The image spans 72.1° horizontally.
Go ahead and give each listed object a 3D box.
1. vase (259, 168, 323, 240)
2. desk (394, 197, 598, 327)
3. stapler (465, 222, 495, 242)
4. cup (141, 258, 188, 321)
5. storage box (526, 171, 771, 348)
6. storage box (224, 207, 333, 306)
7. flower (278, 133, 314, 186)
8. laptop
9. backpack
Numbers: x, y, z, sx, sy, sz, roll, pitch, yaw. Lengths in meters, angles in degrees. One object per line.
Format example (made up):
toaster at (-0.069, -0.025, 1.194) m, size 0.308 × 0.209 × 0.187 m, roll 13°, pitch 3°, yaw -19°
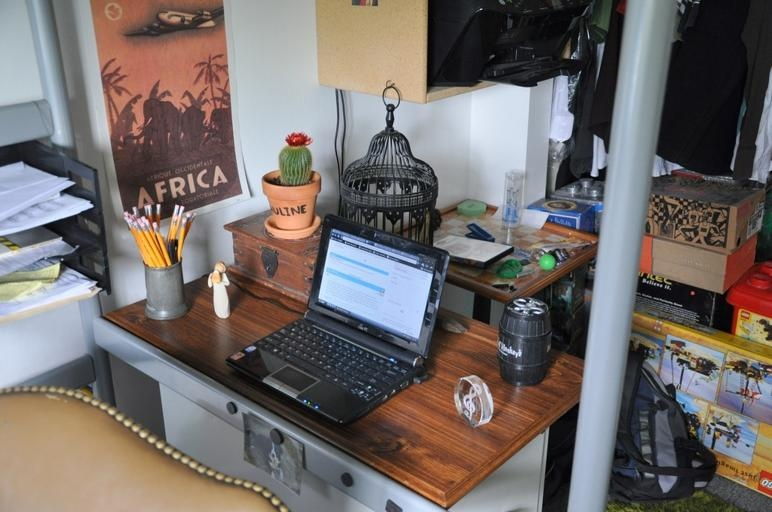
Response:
vase at (-0.342, -0.188, 1.947) m, size 0.217 × 0.199 × 0.218 m, roll 18°, pitch 28°, yaw 35°
desk at (0.548, -0.004, 2.282) m, size 0.599 × 0.376 × 0.601 m, roll 29°, pitch 42°, yaw 35°
stapler at (0.427, -0.105, 2.419) m, size 0.123 × 0.047 × 0.075 m, roll 24°, pitch 40°, yaw 37°
cup at (-0.751, 0.104, 1.799) m, size 0.161 × 0.170 × 0.158 m, roll 1°, pitch 19°, yaw 0°
storage box at (1.097, 0.037, 2.131) m, size 0.669 × 0.603 × 0.381 m, roll 25°, pitch 40°, yaw 34°
storage box at (-0.348, -0.016, 2.007) m, size 0.427 × 0.185 × 0.298 m, roll 19°, pitch 33°, yaw 28°
flower at (-0.333, -0.341, 1.870) m, size 0.135 × 0.175 × 0.128 m, roll 2°, pitch 23°, yaw 4°
laptop at (-0.153, 0.159, 1.527) m, size 0.512 × 0.355 × 0.517 m, roll -24°, pitch 33°, yaw -36°
backpack at (1.325, 0.878, 2.499) m, size 0.399 × 0.644 × 0.619 m, roll -11°, pitch 59°, yaw 29°
